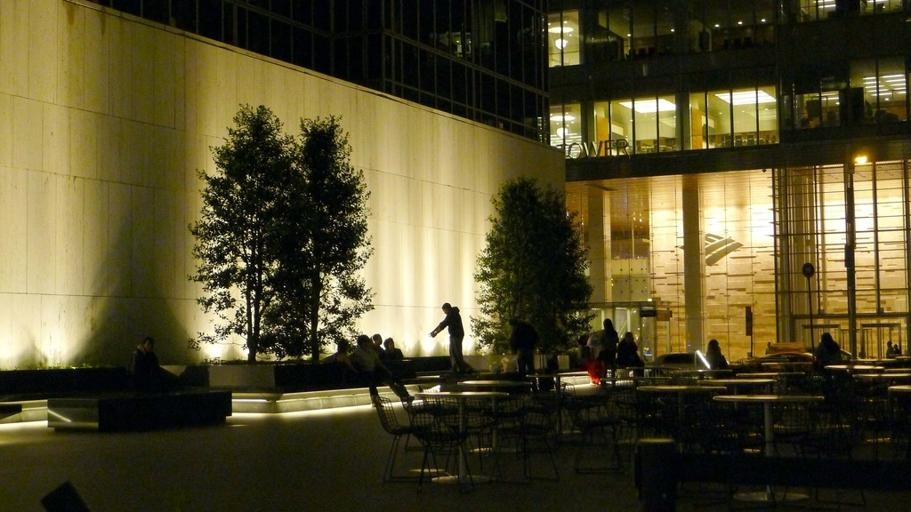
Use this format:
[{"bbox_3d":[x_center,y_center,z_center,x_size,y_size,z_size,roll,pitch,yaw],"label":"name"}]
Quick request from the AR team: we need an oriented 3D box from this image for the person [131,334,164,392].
[{"bbox_3d":[-9.857,3.450,33.482,0.787,1.690,0.496,-1,-2,-13],"label":"person"}]

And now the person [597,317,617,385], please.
[{"bbox_3d":[5.645,3.432,39.126,0.808,2.245,0.651,-8,18,-19],"label":"person"}]

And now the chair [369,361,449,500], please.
[{"bbox_3d":[-1.890,4.575,28.561,2.679,3.603,2.162,-4,-5,15],"label":"chair"}]
